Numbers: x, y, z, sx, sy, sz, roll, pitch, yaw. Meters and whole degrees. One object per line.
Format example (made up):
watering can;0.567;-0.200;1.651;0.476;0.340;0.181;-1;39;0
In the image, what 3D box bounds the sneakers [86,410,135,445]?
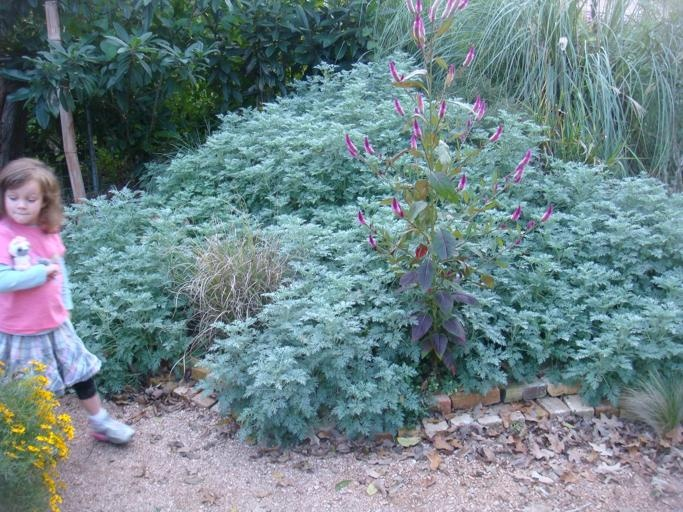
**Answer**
sneakers;-1.641;1.214;4.040;0.332;0.251;0.180;4;29;-1
